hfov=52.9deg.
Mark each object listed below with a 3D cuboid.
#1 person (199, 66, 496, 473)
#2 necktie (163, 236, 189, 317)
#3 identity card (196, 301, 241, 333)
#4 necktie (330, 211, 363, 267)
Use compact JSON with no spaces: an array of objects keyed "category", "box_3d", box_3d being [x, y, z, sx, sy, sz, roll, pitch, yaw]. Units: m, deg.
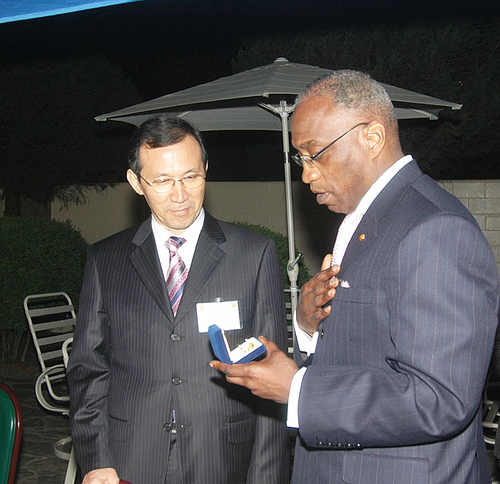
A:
[{"category":"person","box_3d":[0.302,0.004,1.348,0.637,0.914,0.639,2,18,18]},{"category":"necktie","box_3d":[-0.277,0.124,1.937,0.130,0.321,0.036,-8,-20,21]},{"category":"identity card","box_3d":[-0.111,0.269,1.840,0.180,0.098,0.047,-1,0,-11]},{"category":"necktie","box_3d":[0.302,-0.010,1.604,0.067,0.156,0.098,9,9,28]}]
